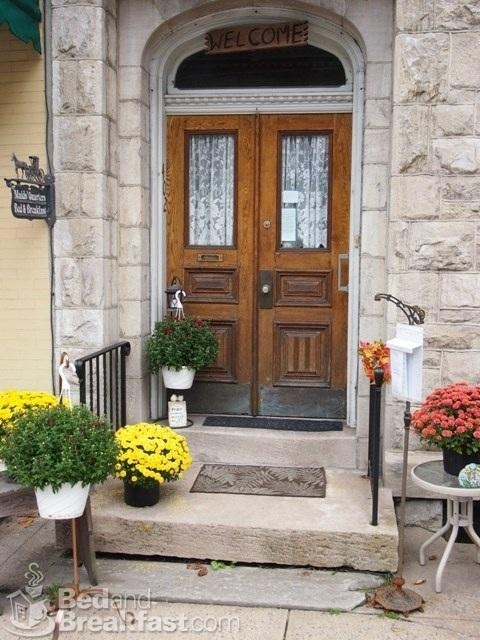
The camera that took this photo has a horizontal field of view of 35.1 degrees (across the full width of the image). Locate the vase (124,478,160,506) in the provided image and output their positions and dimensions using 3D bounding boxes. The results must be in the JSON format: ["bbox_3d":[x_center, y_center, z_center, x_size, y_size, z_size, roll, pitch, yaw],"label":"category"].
[{"bbox_3d":[-0.503,0.881,3.884,0.160,0.110,0.156,-1,-5,14],"label":"vase"}]

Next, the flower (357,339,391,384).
[{"bbox_3d":[0.682,0.219,3.981,0.112,0.217,0.188,2,27,-7],"label":"flower"}]

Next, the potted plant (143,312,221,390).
[{"bbox_3d":[-0.360,0.217,4.807,0.458,0.463,0.286,-3,4,-6],"label":"potted plant"}]

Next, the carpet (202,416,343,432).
[{"bbox_3d":[0.219,0.663,4.900,0.905,0.057,0.327,-1,4,9],"label":"carpet"}]

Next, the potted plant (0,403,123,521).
[{"bbox_3d":[-0.701,0.559,3.225,0.499,0.466,0.495,1,-1,-6],"label":"potted plant"}]

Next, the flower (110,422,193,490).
[{"bbox_3d":[-0.435,0.656,3.881,0.338,0.213,0.342,1,6,3],"label":"flower"}]

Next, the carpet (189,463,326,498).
[{"bbox_3d":[0.122,0.896,4.292,0.735,0.069,0.480,-1,4,6],"label":"carpet"}]
